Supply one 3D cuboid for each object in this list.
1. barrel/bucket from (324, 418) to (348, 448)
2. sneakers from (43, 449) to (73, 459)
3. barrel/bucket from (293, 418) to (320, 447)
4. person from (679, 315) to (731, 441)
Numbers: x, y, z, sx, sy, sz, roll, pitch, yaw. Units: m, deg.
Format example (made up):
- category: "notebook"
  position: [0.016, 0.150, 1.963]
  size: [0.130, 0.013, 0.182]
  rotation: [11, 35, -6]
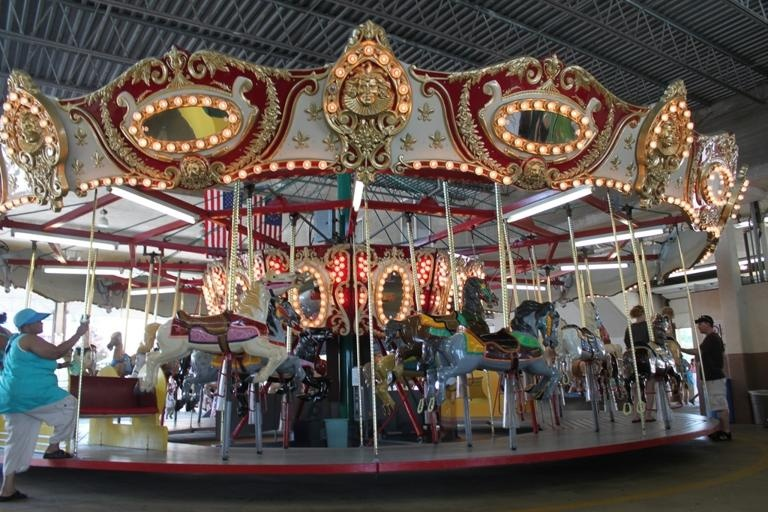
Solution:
- category: "barrel/bucket"
  position: [-0.820, 2.925, 10.394]
  size: [0.422, 0.427, 0.454]
  rotation: [-1, -4, 0]
- category: "sneakers"
  position: [-4.128, 2.512, 8.002]
  size: [0.412, 0.151, 0.138]
  rotation: [1, -8, -9]
- category: "barrel/bucket"
  position: [-1.338, 3.032, 11.038]
  size: [0.593, 0.559, 0.304]
  rotation: [1, -23, -3]
- category: "person"
  position: [5.570, 2.075, 10.768]
  size: [0.659, 2.023, 0.715]
  rotation: [-9, -18, 36]
